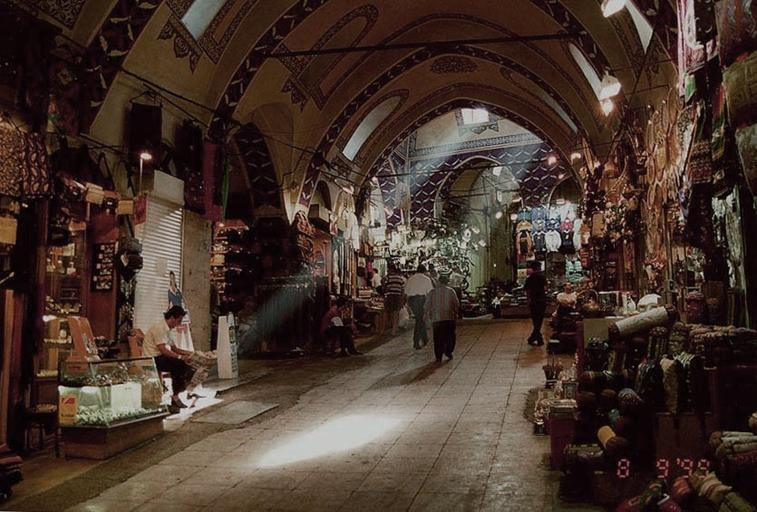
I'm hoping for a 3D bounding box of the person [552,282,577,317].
[{"bbox_3d":[3.821,0.868,12.250,0.476,0.701,1.354,-7,-8,16],"label":"person"}]

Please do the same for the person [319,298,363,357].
[{"bbox_3d":[-0.956,1.650,13.834,0.752,1.294,2.115,-4,-8,-6],"label":"person"}]

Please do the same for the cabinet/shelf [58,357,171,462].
[{"bbox_3d":[-3.256,1.856,7.502,0.707,1.066,1.481,-2,-8,7],"label":"cabinet/shelf"}]

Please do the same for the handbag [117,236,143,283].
[{"bbox_3d":[-4.052,0.035,9.709,0.206,0.724,0.417,-6,-7,12],"label":"handbag"}]

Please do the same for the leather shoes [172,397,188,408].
[{"bbox_3d":[-2.791,2.101,8.497,0.289,0.129,0.099,20,-7,-16],"label":"leather shoes"}]

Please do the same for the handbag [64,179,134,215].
[{"bbox_3d":[-4.216,-0.917,8.886,0.482,0.185,0.484,20,-3,40],"label":"handbag"}]

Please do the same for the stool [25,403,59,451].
[{"bbox_3d":[-4.088,2.082,7.205,0.334,0.543,0.668,0,-9,-31],"label":"stool"}]

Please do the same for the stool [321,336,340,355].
[{"bbox_3d":[-0.996,2.022,13.500,0.450,0.539,0.467,1,-2,-30],"label":"stool"}]
